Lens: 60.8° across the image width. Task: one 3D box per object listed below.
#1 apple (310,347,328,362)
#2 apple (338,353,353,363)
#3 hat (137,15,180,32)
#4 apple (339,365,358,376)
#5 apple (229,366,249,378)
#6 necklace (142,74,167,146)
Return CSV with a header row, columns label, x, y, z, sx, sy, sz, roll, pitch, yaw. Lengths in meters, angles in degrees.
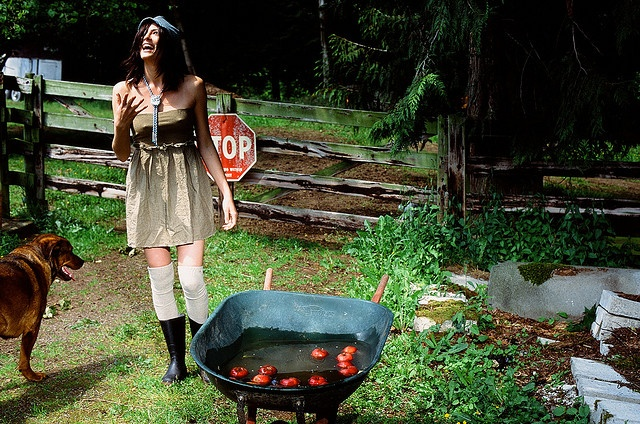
label,x,y,z,sx,sy,sz,roll,pitch,yaw
apple,-0.003,1.109,4.300,0.120,0.072,0.103,11,12,31
apple,0.197,1.128,4.251,0.122,0.049,0.076,6,11,5
hat,-1.503,-1.743,5.099,0.351,0.184,0.561,2,11,-17
apple,0.222,1.196,4.128,0.136,0.052,0.099,3,11,-9
apple,-0.605,1.197,4.113,0.140,0.063,0.102,-2,13,-32
necklace,-1.538,-0.908,4.959,0.217,0.609,0.093,9,12,25
